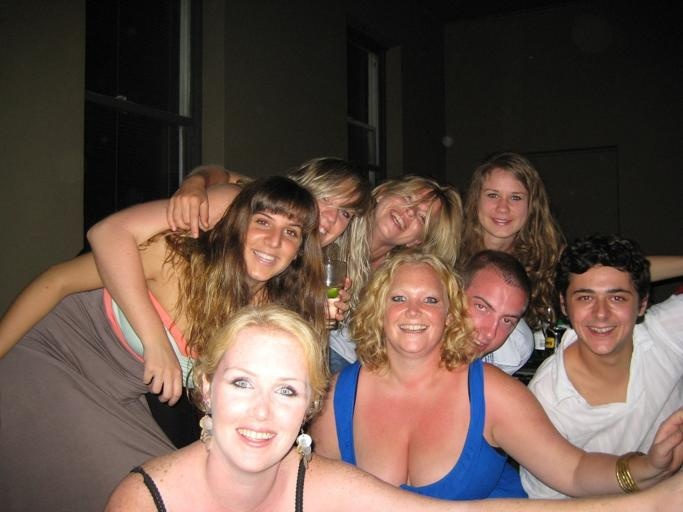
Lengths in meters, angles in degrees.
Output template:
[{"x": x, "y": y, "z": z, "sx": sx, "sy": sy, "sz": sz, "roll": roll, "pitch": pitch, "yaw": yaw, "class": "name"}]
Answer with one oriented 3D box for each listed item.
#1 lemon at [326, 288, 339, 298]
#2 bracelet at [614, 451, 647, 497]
[{"x": -0.048, "y": 0.226, "z": 3.719, "sx": 0.059, "sy": 0.047, "sz": 0.063, "roll": 0, "pitch": -2, "yaw": -37, "class": "lemon"}, {"x": 1.372, "y": 1.027, "z": 2.807, "sx": 0.146, "sy": 0.166, "sz": 0.066, "roll": 24, "pitch": -32, "yaw": -4, "class": "bracelet"}]
